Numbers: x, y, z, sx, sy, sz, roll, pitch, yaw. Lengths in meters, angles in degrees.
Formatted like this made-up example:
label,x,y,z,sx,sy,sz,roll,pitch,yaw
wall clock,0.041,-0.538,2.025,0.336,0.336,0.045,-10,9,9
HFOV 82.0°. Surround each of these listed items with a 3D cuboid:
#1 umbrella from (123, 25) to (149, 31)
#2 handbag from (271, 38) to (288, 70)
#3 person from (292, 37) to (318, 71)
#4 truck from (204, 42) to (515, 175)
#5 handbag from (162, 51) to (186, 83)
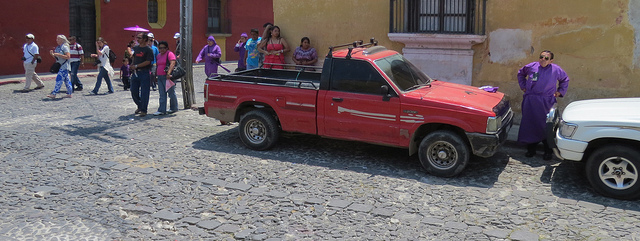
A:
label,x,y,z,sx,sy,sz,roll,pitch,yaw
umbrella,-13.740,-6.886,27.694,1.709,0.285,0.998,12,18,42
handbag,-1.938,-3.312,18.359,0.588,1.397,1.412,-7,16,-22
person,-0.702,-3.403,18.164,1.061,1.327,0.733,12,20,37
truck,2.225,-0.745,15.376,13.346,3.884,5.052,4,19,18
handbag,-7.194,-2.609,18.258,0.923,1.323,1.389,-3,15,-10
